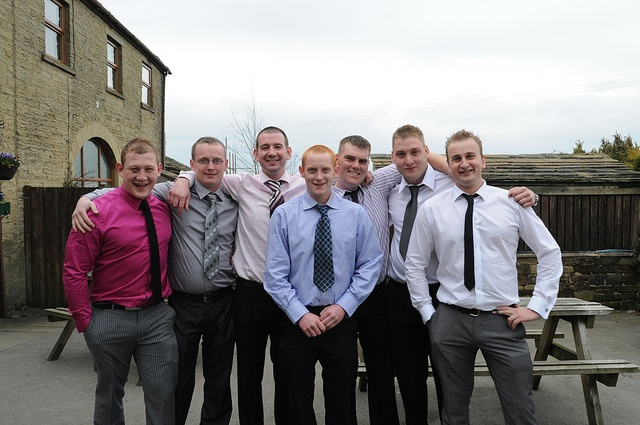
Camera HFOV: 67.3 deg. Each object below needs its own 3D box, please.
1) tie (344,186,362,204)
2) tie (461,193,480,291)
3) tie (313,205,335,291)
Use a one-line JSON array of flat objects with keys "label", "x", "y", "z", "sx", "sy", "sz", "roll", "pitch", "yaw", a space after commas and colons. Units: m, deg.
[{"label": "tie", "x": 0.375, "y": -0.195, "z": 5.469, "sx": 0.144, "sy": 0.190, "sz": 0.068, "roll": 4, "pitch": 0, "yaw": -8}, {"label": "tie", "x": 1.577, "y": 0.313, "z": 5.059, "sx": 0.137, "sy": 0.996, "sz": 0.282, "roll": -2, "pitch": 5, "yaw": 22}, {"label": "tie", "x": 0.019, "y": 0.391, "z": 5.140, "sx": 0.227, "sy": 0.913, "sz": 0.232, "roll": -4, "pitch": 5, "yaw": 0}]
